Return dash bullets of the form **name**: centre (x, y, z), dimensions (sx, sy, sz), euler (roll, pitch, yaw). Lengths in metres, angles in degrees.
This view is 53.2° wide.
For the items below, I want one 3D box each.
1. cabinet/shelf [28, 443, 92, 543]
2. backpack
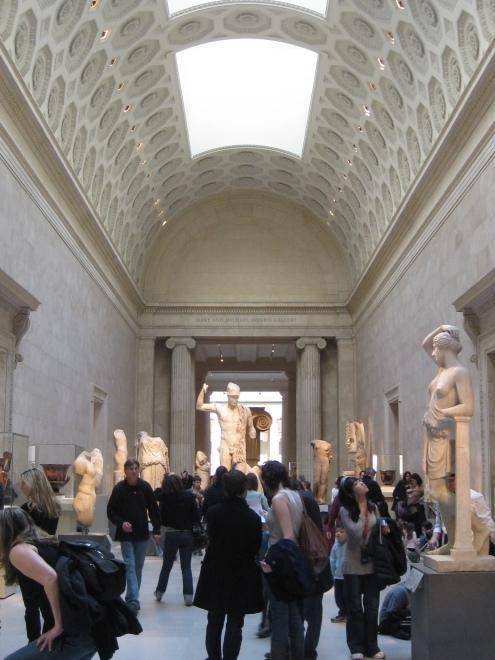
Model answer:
- **cabinet/shelf**: centre (-3.880, 3.306, 9.867), dimensions (1.235, 1.572, 1.518), euler (-5, 32, -24)
- **backpack**: centre (-0.648, 1.026, 2.067), dimensions (0.291, 0.240, 0.405), euler (9, -16, -20)
